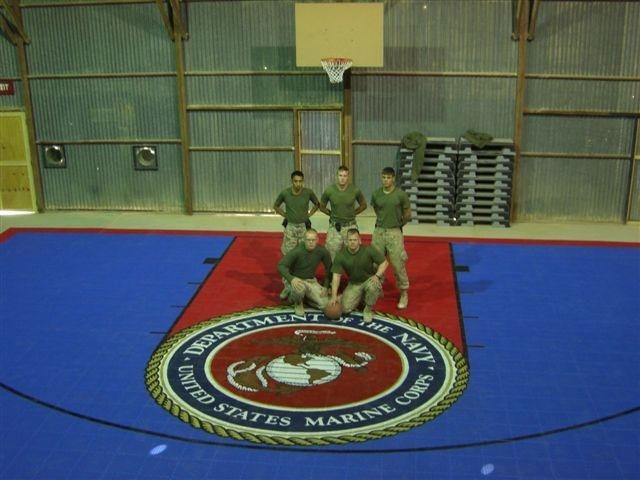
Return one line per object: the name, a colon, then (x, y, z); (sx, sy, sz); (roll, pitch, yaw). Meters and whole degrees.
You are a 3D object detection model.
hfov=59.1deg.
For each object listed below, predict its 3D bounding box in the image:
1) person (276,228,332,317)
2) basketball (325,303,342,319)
person: (-0.253, 0.701, 11.868); (1.006, 1.828, 1.133); (20, 24, 33)
basketball: (0.312, 1.453, 11.825); (0.320, 0.339, 0.345); (-4, 7, 11)
